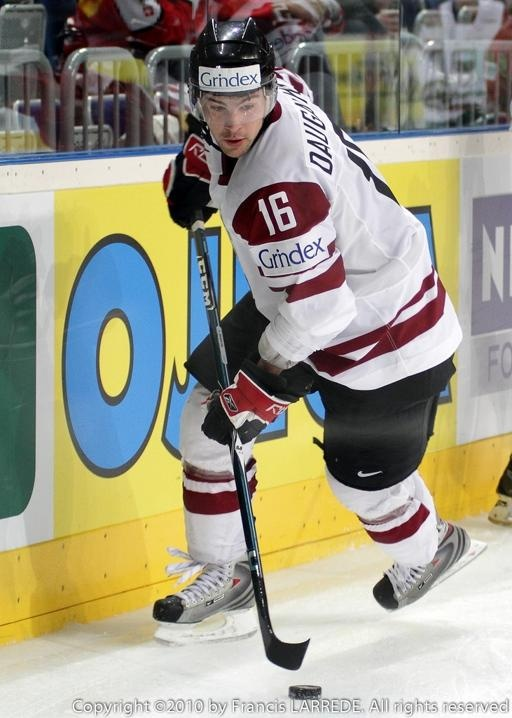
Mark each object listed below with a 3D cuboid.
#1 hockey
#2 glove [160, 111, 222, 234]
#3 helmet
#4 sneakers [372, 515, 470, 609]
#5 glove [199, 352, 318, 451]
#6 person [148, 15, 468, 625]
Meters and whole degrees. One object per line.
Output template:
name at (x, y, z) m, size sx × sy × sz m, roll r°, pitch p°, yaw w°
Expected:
hockey at (-0.040, 0.195, 1.849) m, size 0.150 × 1.199 × 0.097 m, roll -13°, pitch 5°, yaw -31°
glove at (-0.153, -0.424, 2.008) m, size 0.087 × 0.212 × 0.167 m, roll -1°, pitch 32°, yaw -23°
helmet at (-0.031, -0.509, 1.485) m, size 0.127 × 0.136 × 0.156 m, roll 0°, pitch 15°, yaw 5°
sneakers at (0.415, 0.508, 2.176) m, size 0.084 × 0.278 × 0.117 m, roll 46°, pitch -7°, yaw 29°
glove at (-0.016, 0.089, 1.755) m, size 0.205 × 0.088 × 0.168 m, roll -46°, pitch -9°, yaw 35°
person at (0.186, 0.002, 1.843) m, size 0.735 × 1.265 × 0.735 m, roll -2°, pitch 2°, yaw -17°
